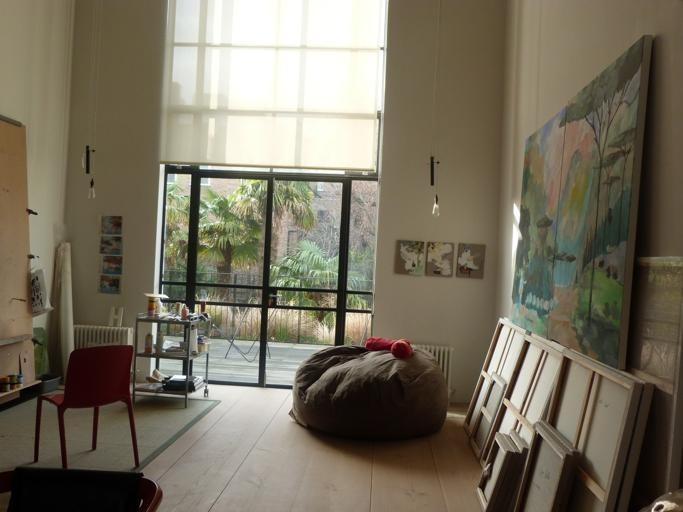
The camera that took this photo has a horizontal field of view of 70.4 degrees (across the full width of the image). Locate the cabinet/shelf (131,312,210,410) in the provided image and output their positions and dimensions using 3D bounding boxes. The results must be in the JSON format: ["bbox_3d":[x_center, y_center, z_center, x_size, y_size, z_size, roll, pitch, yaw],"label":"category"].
[{"bbox_3d":[-2.069,1.218,5.975,0.935,1.534,0.932,1,1,3],"label":"cabinet/shelf"}]

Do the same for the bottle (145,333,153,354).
[{"bbox_3d":[-2.197,0.997,5.500,0.078,0.190,0.143,0,4,-27],"label":"bottle"}]

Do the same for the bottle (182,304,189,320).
[{"bbox_3d":[-1.829,0.645,5.581,0.114,0.162,0.128,1,3,0],"label":"bottle"}]

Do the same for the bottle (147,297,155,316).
[{"bbox_3d":[-2.178,0.567,5.543,0.068,0.191,0.066,2,4,0],"label":"bottle"}]

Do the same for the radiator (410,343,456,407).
[{"bbox_3d":[1.128,1.362,5.792,0.446,0.651,0.576,0,-3,-7],"label":"radiator"}]
